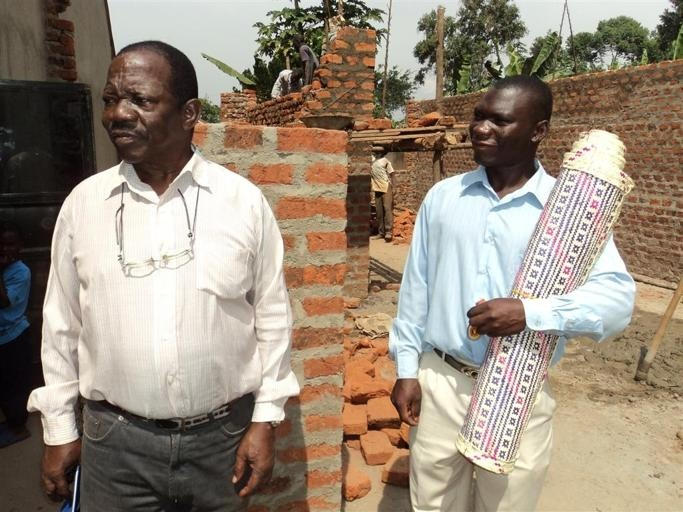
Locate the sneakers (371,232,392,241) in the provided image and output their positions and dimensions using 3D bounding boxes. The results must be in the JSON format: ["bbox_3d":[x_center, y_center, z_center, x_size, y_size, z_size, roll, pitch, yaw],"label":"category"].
[{"bbox_3d":[0.932,-0.439,14.412,0.562,0.157,0.228,2,0,-9],"label":"sneakers"}]
